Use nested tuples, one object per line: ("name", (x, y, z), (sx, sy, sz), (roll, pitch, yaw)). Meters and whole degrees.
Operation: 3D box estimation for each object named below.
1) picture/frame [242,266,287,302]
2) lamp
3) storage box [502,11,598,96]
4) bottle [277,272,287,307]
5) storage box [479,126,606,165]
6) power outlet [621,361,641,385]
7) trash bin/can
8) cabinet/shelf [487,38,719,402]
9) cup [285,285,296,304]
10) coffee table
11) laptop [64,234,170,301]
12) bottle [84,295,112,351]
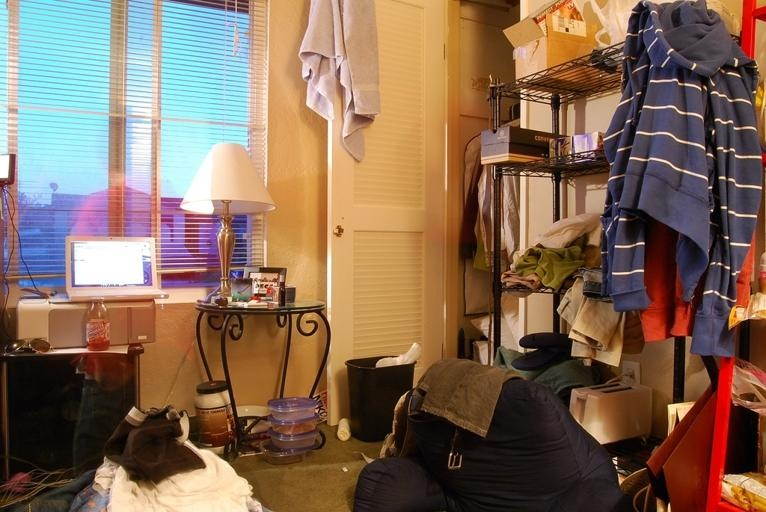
("picture/frame", (-0.712, 0.178, 3.720), (0.212, 0.208, 0.021), (1, -16, 8))
("lamp", (-0.933, -0.211, 3.778), (0.543, 0.622, 0.469), (-3, 2, -1))
("storage box", (0.970, -1.111, 3.558), (0.514, 0.366, 0.449), (0, -4, -17))
("bottle", (-0.602, 0.186, 3.674), (0.049, 0.208, 0.104), (-3, 2, -7))
("storage box", (0.888, -0.634, 3.509), (0.667, 0.235, 0.313), (-2, 2, 19))
("power outlet", (1.417, 0.670, 3.521), (0.120, 0.153, 0.112), (4, -4, -28))
("trash bin/can", (-0.025, 0.926, 3.941), (0.412, 0.472, 0.321), (4, -8, -25))
("cabinet/shelf", (1.037, -0.150, 3.570), (0.673, 1.856, 1.528), (-4, 2, -25))
("cup", (-0.549, 0.242, 3.719), (0.085, 0.109, 0.089), (-1, 2, 0))
("coffee table", (-0.762, 0.727, 3.911), (0.959, 0.891, 0.942), (-1, -1, -34))
("laptop", (-1.492, 0.059, 3.460), (0.532, 0.341, 0.449), (0, 1, -43))
("bottle", (-1.510, 0.364, 3.262), (0.114, 0.218, 0.081), (-4, 2, -27))
